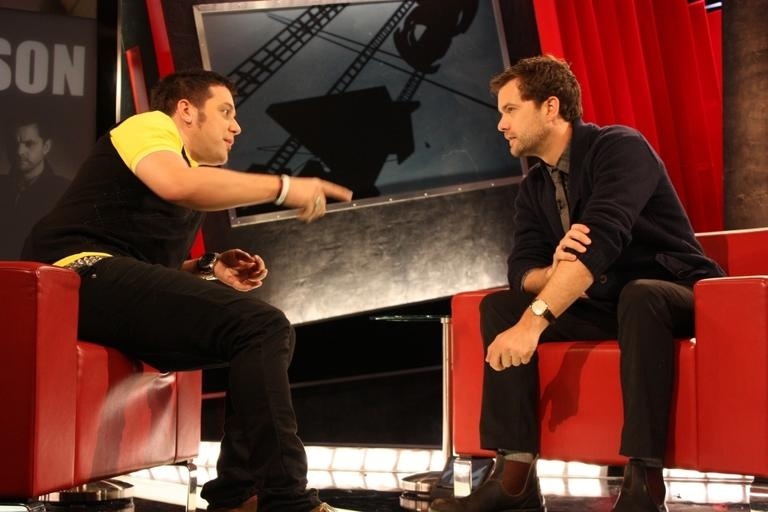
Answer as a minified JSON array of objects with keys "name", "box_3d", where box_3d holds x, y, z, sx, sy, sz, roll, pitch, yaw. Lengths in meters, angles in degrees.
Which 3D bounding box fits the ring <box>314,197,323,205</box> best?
[{"name":"ring","box_3d":[-0.217,-0.186,2.387,0.024,0.006,0.024,-2,21,1]}]

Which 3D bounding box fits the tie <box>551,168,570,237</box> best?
[{"name":"tie","box_3d":[0.677,-0.230,2.699,0.046,0.196,0.103,-2,3,21]}]

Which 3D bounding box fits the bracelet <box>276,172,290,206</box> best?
[{"name":"bracelet","box_3d":[-0.331,-0.219,2.344,0.034,0.084,0.069,10,-16,-7]}]

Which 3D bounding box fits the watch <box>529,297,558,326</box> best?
[{"name":"watch","box_3d":[0.517,0.178,2.343,0.053,0.091,0.089,-44,-25,-2]}]
